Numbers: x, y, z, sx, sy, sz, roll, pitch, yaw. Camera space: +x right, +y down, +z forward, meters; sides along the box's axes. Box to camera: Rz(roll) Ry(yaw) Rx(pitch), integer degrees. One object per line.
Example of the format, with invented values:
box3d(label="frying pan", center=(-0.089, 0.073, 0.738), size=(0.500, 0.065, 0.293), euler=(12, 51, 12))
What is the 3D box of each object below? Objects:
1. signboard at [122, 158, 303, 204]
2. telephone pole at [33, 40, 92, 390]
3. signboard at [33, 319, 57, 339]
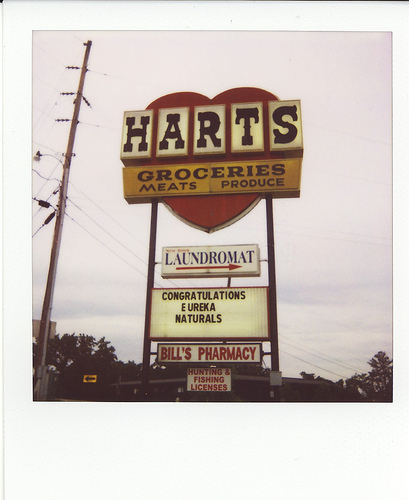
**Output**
box3d(label="signboard", center=(0.095, -1.253, 10.433), size=(3.110, 0.610, 0.149), euler=(-1, -14, 9))
box3d(label="telephone pole", center=(-2.715, -0.526, 11.348), size=(0.359, 6.138, 0.936), euler=(10, -16, -34))
box3d(label="signboard", center=(-3.027, 1.501, 11.220), size=(0.416, 0.325, 0.265), euler=(4, -14, -13))
